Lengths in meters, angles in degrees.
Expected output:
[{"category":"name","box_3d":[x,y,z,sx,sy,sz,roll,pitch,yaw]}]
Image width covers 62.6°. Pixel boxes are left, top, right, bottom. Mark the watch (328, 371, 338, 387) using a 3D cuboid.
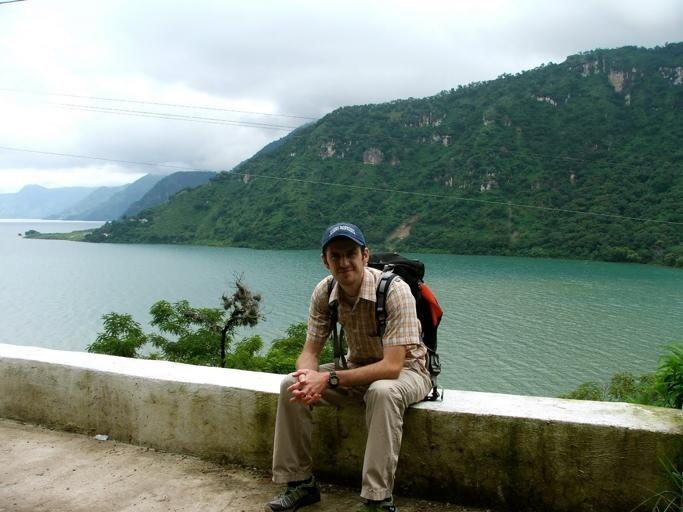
[{"category":"watch","box_3d":[-0.050,0.786,3.596,0.066,0.086,0.084,-1,-17,-11]}]
